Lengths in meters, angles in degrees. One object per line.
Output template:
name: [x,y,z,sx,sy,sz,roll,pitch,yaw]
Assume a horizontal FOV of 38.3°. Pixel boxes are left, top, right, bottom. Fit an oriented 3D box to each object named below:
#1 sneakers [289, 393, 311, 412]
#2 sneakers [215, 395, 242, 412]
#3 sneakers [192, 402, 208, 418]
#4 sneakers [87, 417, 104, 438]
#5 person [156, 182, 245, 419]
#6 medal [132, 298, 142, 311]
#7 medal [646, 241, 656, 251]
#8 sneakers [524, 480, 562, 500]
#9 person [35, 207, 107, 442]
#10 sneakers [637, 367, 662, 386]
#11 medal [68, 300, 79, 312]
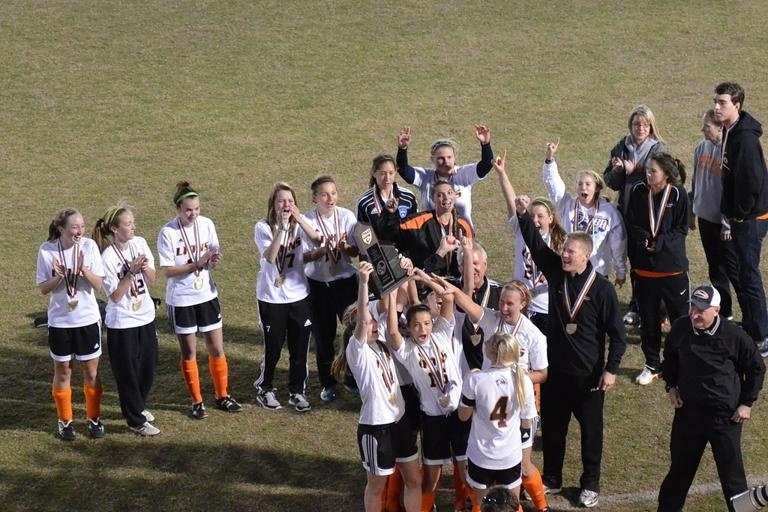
sneakers: [-1.384,2.439,18.303,0.192,0.177,0.394,-6,9,-34]
sneakers: [-2.587,2.430,18.286,0.379,0.185,0.218,8,21,21]
sneakers: [-3.014,2.552,18.135,0.140,0.170,0.339,0,-1,-27]
sneakers: [-4.667,2.754,17.825,0.181,0.168,0.357,-6,25,-36]
person: [-3.071,0.706,18.053,1.054,3.804,0.844,-3,14,-2]
medal: [-3.956,0.772,17.636,0.068,0.132,0.134,20,43,18]
medal: [4.433,-0.175,18.171,0.136,0.116,0.152,6,-26,-4]
sneakers: [2.393,3.519,16.583,0.587,0.305,0.233,-9,14,-5]
person: [-4.943,1.065,17.677,1.027,3.604,0.867,-4,14,-6]
sneakers: [4.485,2.019,18.671,0.488,0.243,0.198,-20,-2,-29]
medal: [-4.932,0.789,17.551,0.148,0.128,0.120,22,-11,-34]
